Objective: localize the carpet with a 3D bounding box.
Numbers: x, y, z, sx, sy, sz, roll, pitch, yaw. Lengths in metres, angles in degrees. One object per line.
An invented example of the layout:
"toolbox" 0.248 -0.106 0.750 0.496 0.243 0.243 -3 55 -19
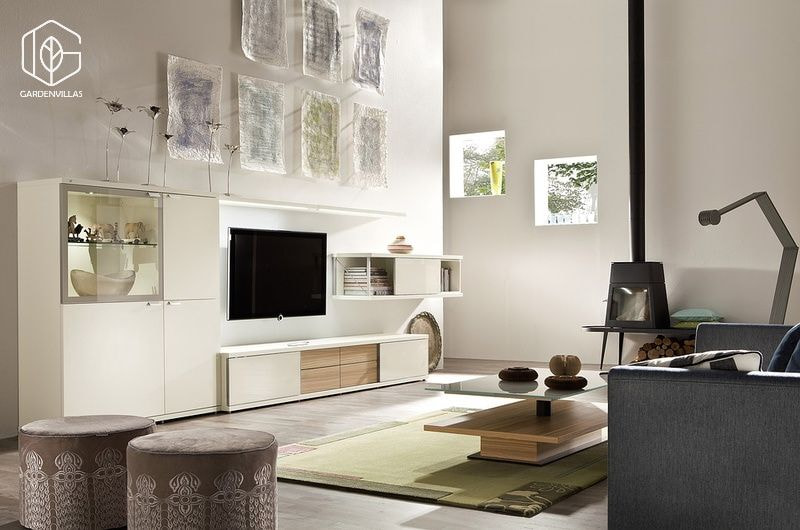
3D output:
"carpet" 0.251 1.369 4.010 2.082 0.038 1.485 -1 -1 32

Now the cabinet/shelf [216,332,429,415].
"cabinet/shelf" -0.780 1.139 6.629 0.435 0.529 2.824 2 1 43

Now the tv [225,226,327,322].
"tv" -1.324 0.122 6.433 0.091 0.934 1.350 1 0 39

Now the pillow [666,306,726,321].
"pillow" 3.898 0.661 7.686 0.582 0.151 0.506 -1 -1 29

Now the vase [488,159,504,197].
"vase" 1.535 -1.360 9.198 0.204 0.555 0.145 -1 -1 14

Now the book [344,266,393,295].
"book" -0.375 0.205 7.004 0.584 0.330 0.241 0 -1 -7

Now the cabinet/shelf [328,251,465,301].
"cabinet/shelf" 0.030 0.162 7.584 0.591 0.590 2.157 0 -1 37
